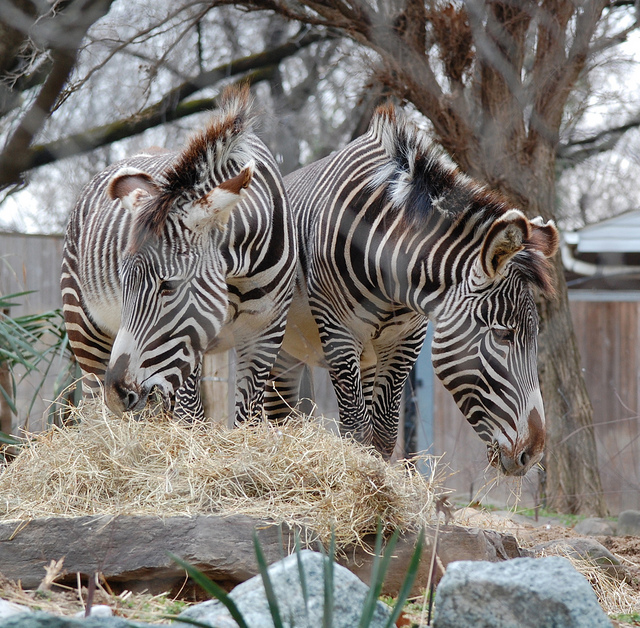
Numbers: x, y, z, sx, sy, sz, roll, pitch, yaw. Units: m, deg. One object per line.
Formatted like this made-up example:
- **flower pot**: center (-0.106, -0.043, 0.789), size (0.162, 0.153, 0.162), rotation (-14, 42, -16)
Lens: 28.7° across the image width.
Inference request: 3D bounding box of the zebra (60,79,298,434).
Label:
- **zebra**: center (-0.504, -0.074, 5.225), size (0.777, 1.360, 2.033), rotation (1, 0, -4)

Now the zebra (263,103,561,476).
- **zebra**: center (0.397, -0.123, 4.936), size (0.475, 1.485, 1.196), rotation (9, -10, -41)
